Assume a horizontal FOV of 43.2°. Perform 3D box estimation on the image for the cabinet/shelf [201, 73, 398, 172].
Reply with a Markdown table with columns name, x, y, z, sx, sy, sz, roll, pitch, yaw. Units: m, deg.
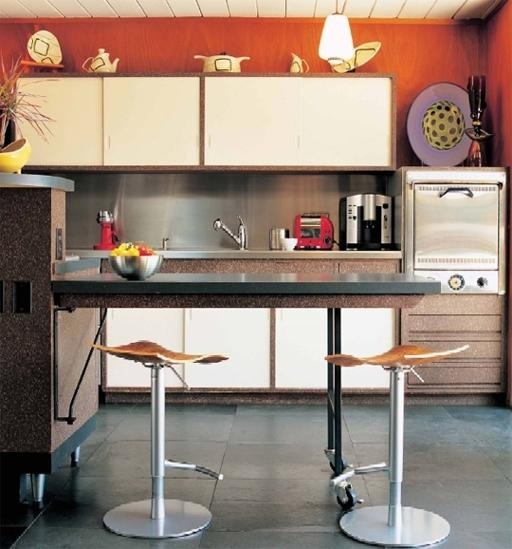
| name | x | y | z | sx | sy | sz | roll | pitch | yaw |
| --- | --- | --- | --- | --- | --- | --- | --- | --- | --- |
| cabinet/shelf | 0.286 | -1.043 | 4.468 | 1.291 | 0.622 | 0.387 | 1 | 5 | 4 |

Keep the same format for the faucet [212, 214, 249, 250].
| name | x | y | z | sx | sy | sz | roll | pitch | yaw |
| --- | --- | --- | --- | --- | --- | --- | --- | --- | --- |
| faucet | -0.179 | -0.299 | 4.628 | 0.259 | 0.236 | 0.428 | 0 | 3 | -3 |

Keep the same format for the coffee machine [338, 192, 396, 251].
| name | x | y | z | sx | sy | sz | roll | pitch | yaw |
| --- | --- | --- | --- | --- | --- | --- | --- | --- | --- |
| coffee machine | 0.731 | -0.337 | 4.360 | 0.388 | 0.504 | 0.355 | 0 | -3 | 1 |

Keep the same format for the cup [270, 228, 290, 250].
| name | x | y | z | sx | sy | sz | roll | pitch | yaw |
| --- | --- | --- | --- | --- | --- | --- | --- | --- | --- |
| cup | 0.145 | -0.252 | 4.568 | 0.150 | 0.164 | 0.148 | 0 | 5 | 0 |

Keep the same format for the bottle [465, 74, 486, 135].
| name | x | y | z | sx | sy | sz | roll | pitch | yaw |
| --- | --- | --- | --- | --- | --- | --- | --- | --- | --- |
| bottle | 1.473 | -1.128 | 4.336 | 0.118 | 0.391 | 0.167 | 1 | 3 | 17 |

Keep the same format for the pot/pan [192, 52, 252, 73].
| name | x | y | z | sx | sy | sz | roll | pitch | yaw |
| --- | --- | --- | --- | --- | --- | --- | --- | --- | --- |
| pot/pan | -0.247 | -1.418 | 4.368 | 0.321 | 0.158 | 0.210 | 0 | 3 | -2 |

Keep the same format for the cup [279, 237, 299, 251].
| name | x | y | z | sx | sy | sz | roll | pitch | yaw |
| --- | --- | --- | --- | --- | --- | --- | --- | --- | --- |
| cup | 0.221 | -0.201 | 4.333 | 0.091 | 0.063 | 0.090 | 0 | -3 | 0 |

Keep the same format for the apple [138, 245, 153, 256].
| name | x | y | z | sx | sy | sz | roll | pitch | yaw |
| --- | --- | --- | --- | --- | --- | --- | --- | --- | --- |
| apple | -0.411 | -0.092 | 2.457 | 0.044 | 0.028 | 0.050 | 10 | 4 | -18 |

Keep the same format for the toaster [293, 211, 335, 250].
| name | x | y | z | sx | sy | sz | roll | pitch | yaw |
| --- | --- | --- | --- | --- | --- | --- | --- | --- | --- |
| toaster | 0.412 | -0.300 | 4.435 | 0.242 | 0.224 | 0.249 | 0 | -3 | 0 |
